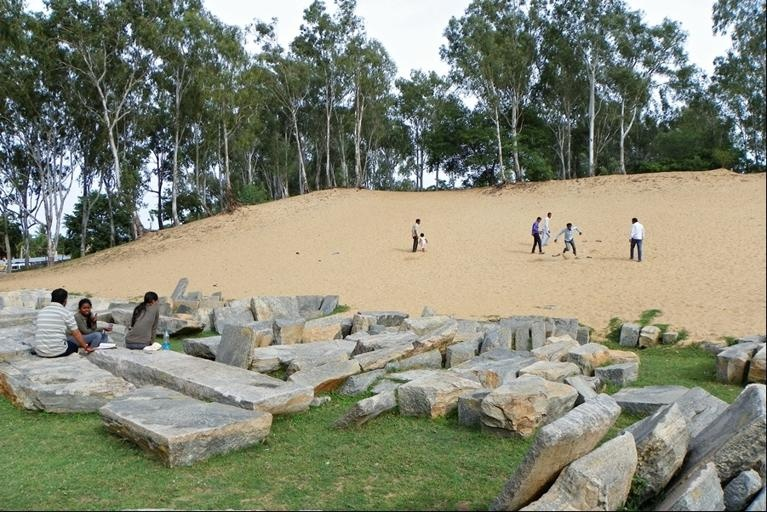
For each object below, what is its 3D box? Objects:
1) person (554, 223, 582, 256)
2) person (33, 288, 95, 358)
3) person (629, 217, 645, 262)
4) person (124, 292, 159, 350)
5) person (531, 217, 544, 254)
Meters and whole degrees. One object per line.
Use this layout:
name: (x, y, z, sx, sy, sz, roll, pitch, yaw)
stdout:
person: (7.484, -0.694, 24.575, 1.122, 1.701, 0.607, -14, 37, 4)
person: (-7.347, 1.568, 13.885, 1.141, 1.089, 0.851, 6, 14, -1)
person: (9.469, -0.628, 22.747, 0.424, 1.620, 1.786, -1, 1, 23)
person: (-5.432, 1.423, 13.583, 0.708, 0.916, 0.774, -2, 1, -25)
person: (6.459, -0.869, 25.769, 0.476, 1.491, 1.398, -1, 1, 15)
